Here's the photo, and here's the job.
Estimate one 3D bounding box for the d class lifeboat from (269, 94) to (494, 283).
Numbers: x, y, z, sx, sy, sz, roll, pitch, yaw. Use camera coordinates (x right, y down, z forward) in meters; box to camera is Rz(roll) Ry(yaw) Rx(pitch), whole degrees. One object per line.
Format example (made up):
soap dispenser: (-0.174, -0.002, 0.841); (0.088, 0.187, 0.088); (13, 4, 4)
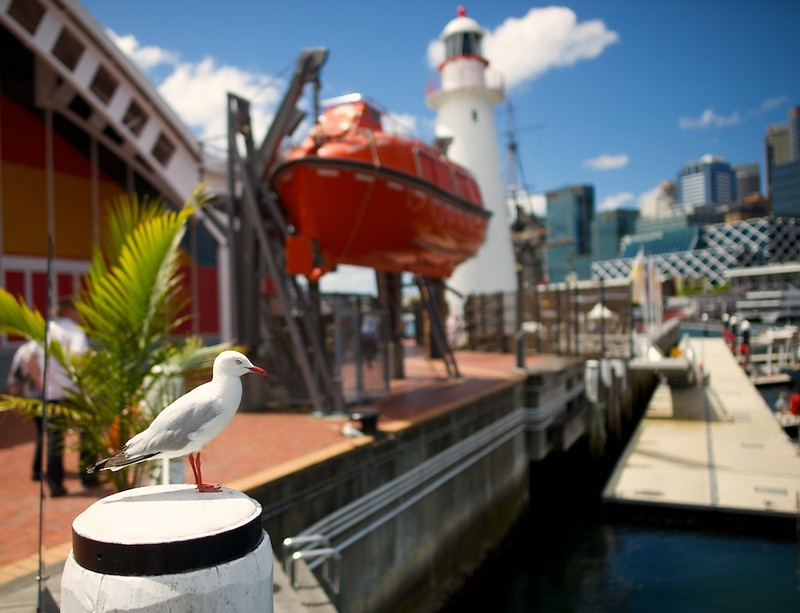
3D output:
d class lifeboat: (-0.152, -1.635, 13.455); (1.924, 2.542, 4.255); (-2, -5, 30)

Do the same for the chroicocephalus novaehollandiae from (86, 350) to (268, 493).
chroicocephalus novaehollandiae: (-1.987, 1.018, 6.924); (1.475, 1.343, 0.568); (-1, 9, -9)
